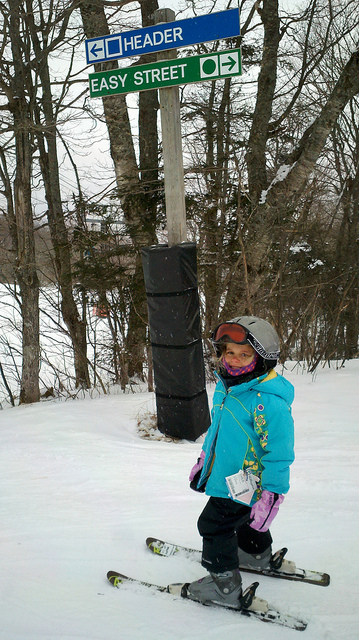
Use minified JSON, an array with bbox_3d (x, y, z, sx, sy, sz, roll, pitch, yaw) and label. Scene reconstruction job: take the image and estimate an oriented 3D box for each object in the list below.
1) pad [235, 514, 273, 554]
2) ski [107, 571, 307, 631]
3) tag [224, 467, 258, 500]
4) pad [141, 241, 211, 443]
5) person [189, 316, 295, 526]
[{"bbox_3d":[0.366,1.050,3.163,0.162,0.198,0.083,2,7,7],"label":"pad"},{"bbox_3d":[0.093,1.229,2.982,0.987,0.121,0.163,3,-4,22],"label":"ski"},{"bbox_3d":[0.279,0.719,2.867,0.150,0.104,0.058,-5,9,-38],"label":"tag"},{"bbox_3d":[-0.061,0.130,5.398,0.472,1.716,0.471,-12,10,-28],"label":"pad"},{"bbox_3d":[0.283,0.467,2.974,0.465,0.939,0.381,2,7,6],"label":"person"}]
